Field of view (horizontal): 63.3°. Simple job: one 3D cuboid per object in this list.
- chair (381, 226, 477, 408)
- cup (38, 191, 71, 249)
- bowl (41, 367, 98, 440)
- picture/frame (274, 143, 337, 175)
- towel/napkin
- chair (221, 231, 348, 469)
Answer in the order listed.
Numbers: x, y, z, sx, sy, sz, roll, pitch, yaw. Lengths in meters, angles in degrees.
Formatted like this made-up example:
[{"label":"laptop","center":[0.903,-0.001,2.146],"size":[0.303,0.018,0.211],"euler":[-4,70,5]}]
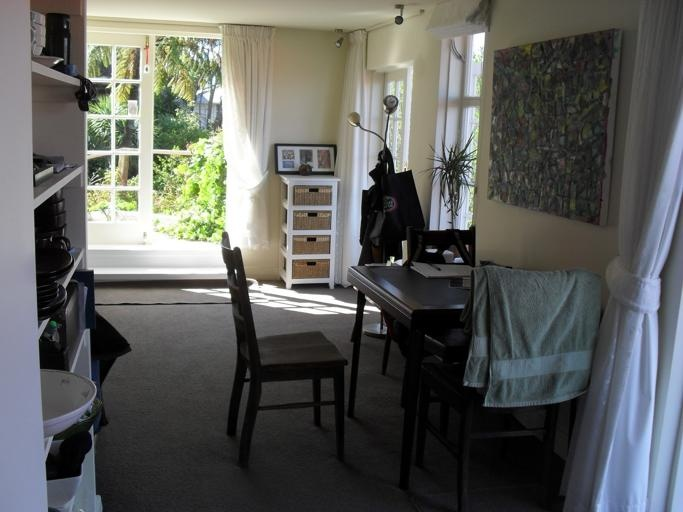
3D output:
[{"label":"chair","center":[0.704,0.351,3.479],"size":[0.550,1.057,0.619],"euler":[-3,3,12]},{"label":"cup","center":[-1.072,-0.130,2.131],"size":[0.121,0.184,0.201],"euler":[-1,7,-3]},{"label":"bowl","center":[-0.795,0.406,1.594],"size":[0.197,0.076,0.198],"euler":[8,16,-2]},{"label":"picture/frame","center":[-0.398,-1.096,6.306],"size":[0.709,0.338,0.151],"euler":[-3,13,-19]},{"label":"towel/napkin","center":[0.848,0.355,2.468],"size":[0.592,0.669,0.229],"euler":[1,2,-4]},{"label":"chair","center":[-0.379,0.641,3.932],"size":[1.001,1.844,1.006],"euler":[-2,9,-11]}]
